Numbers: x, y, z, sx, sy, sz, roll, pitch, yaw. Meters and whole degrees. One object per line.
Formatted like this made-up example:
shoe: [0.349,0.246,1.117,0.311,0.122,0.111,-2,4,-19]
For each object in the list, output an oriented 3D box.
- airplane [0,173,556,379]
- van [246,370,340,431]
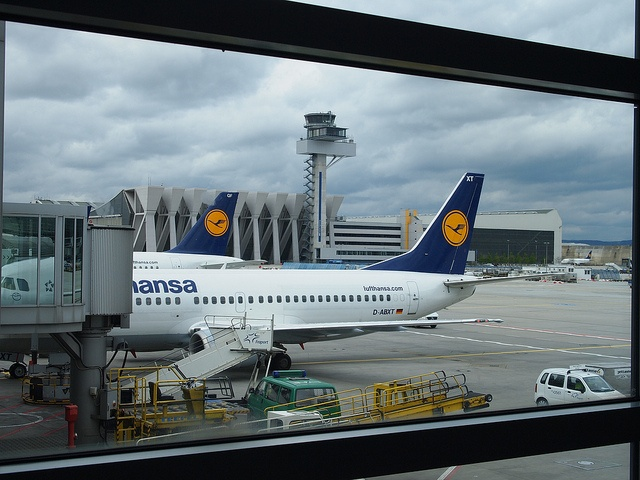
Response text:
airplane: [-0.139,0.655,26.037,15.258,8.063,3.098,4,-14,-33]
van: [-0.696,3.679,16.552,1.173,1.094,1.900,2,1,-41]
